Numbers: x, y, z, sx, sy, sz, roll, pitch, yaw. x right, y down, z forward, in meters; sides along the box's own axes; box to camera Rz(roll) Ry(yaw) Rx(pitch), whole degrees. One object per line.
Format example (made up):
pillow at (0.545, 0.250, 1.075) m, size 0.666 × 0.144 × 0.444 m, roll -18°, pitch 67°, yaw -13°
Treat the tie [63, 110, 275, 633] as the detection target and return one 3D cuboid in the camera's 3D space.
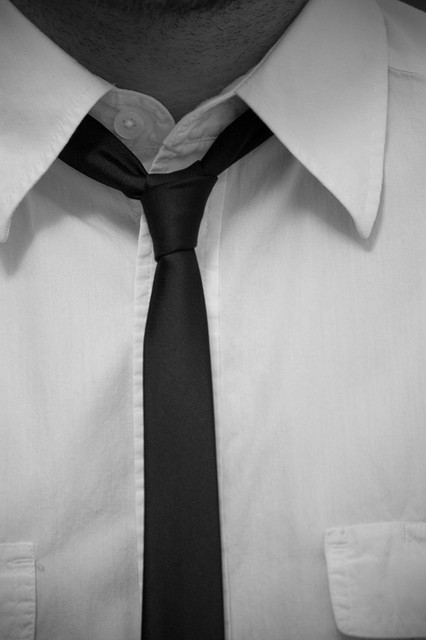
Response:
tie at (-0.058, 0.017, 0.561) m, size 0.209 × 0.480 × 0.180 m, roll 1°, pitch 3°, yaw 8°
